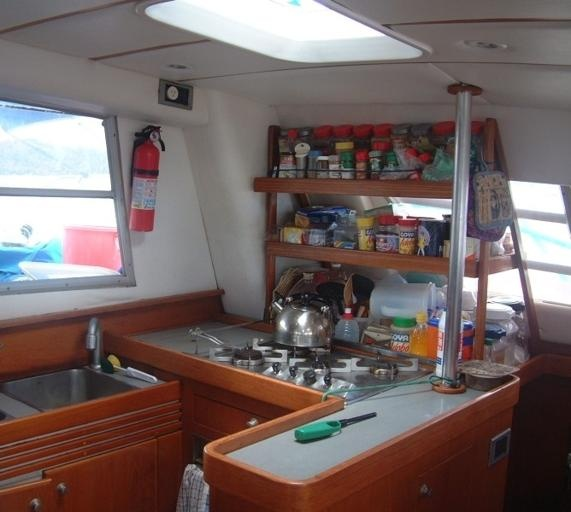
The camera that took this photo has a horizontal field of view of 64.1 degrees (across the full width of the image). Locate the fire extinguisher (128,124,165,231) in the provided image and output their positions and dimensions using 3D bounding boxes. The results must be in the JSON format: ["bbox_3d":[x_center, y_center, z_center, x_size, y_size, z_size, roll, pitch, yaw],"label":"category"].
[{"bbox_3d":[-0.763,-0.427,2.488,0.162,0.571,0.117,1,6,14],"label":"fire extinguisher"}]

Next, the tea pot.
[{"bbox_3d":[0.037,0.308,2.207,0.347,0.175,0.257,11,13,34],"label":"tea pot"}]

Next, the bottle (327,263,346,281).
[{"bbox_3d":[0.343,0.097,2.920,0.152,0.108,0.078,-1,8,8],"label":"bottle"}]

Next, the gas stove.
[{"bbox_3d":[0.117,0.497,2.108,0.566,0.068,0.873,-2,2,-43],"label":"gas stove"}]

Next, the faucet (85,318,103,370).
[{"bbox_3d":[-1.006,0.457,2.404,0.079,0.266,0.153,-2,6,-21],"label":"faucet"}]

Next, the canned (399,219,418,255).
[{"bbox_3d":[0.588,-0.097,2.199,0.091,0.176,0.130,1,5,13],"label":"canned"}]

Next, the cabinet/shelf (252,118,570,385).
[{"bbox_3d":[0.639,-0.020,2.185,1.776,1.168,0.705,4,8,34],"label":"cabinet/shelf"}]
